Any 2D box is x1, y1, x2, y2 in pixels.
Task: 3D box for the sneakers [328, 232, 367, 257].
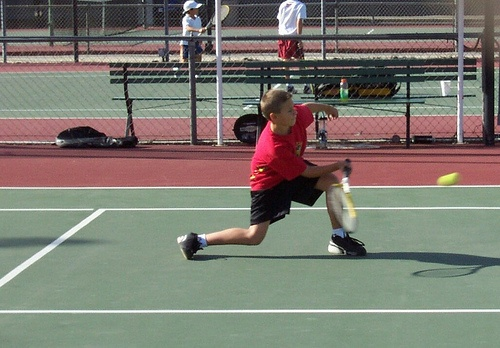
[{"bbox_3d":[1.090,0.787,9.897,0.483,0.228,0.187,7,17,39],"label":"sneakers"}]
